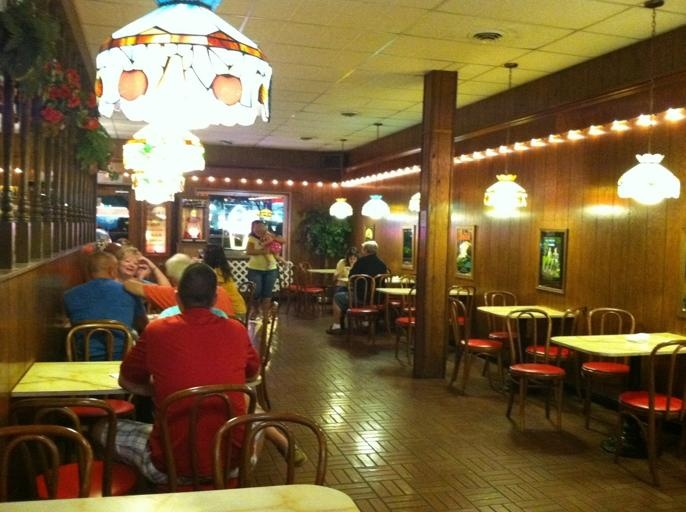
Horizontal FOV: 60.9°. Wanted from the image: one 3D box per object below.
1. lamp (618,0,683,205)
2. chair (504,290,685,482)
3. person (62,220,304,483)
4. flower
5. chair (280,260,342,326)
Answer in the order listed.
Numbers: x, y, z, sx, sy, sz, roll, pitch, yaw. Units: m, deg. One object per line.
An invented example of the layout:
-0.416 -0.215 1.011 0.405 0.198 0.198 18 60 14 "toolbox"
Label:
2.893 -1.323 5.371 0.487 1.727 0.811 5 7 30 "lamp"
2.371 1.221 5.388 0.869 0.677 1.460 -2 3 -19 "chair"
-0.801 0.454 3.433 1.555 1.547 1.054 0 12 -4 "person"
-1.906 -1.064 3.982 0.418 0.496 0.628 -2 32 -26 "flower"
-0.596 0.720 12.365 1.228 1.671 1.161 2 -5 -33 "chair"
